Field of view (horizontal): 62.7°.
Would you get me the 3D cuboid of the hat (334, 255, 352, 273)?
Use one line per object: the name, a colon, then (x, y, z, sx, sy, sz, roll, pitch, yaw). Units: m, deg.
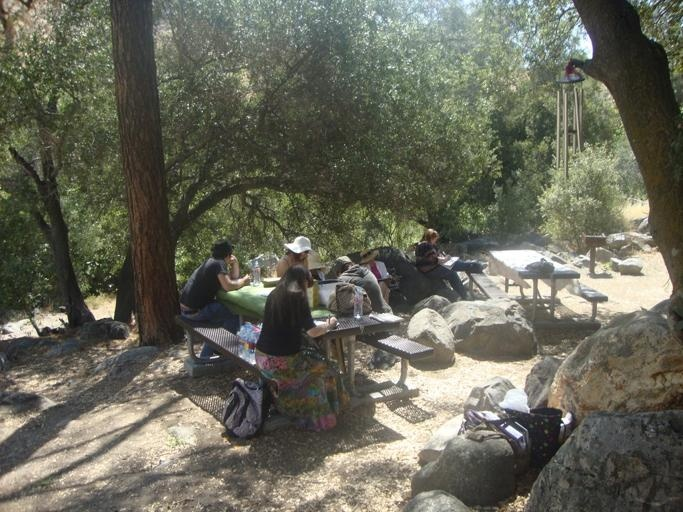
hat: (0.007, 0.114, 8.551, 0.261, 0.253, 0.203, -40, 9, -15)

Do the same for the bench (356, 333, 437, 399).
bench: (0.641, 1.340, 6.913, 0.265, 0.394, 0.973, 15, 1, -16)

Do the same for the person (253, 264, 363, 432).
person: (-0.388, 1.118, 6.421, 1.252, 2.275, 0.857, -18, 26, -38)

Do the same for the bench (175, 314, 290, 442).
bench: (-1.916, 1.455, 7.820, 0.632, 0.941, 3.723, -19, 9, -19)

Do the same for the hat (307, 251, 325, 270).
hat: (-0.409, 0.085, 8.790, 0.219, 0.439, 0.287, -5, 5, -12)

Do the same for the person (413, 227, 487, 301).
person: (2.508, -0.100, 12.682, 1.435, 1.275, 3.552, 1, 10, 24)

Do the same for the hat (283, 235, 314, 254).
hat: (-0.587, -0.157, 7.731, 0.308, 0.226, 0.411, -3, 9, 0)

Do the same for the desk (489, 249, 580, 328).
desk: (3.798, 0.502, 11.187, 1.059, 1.193, 2.984, -2, 9, 6)

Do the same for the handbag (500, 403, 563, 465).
handbag: (1.785, 1.658, 5.275, 0.526, 0.643, 0.321, -1, 4, -1)

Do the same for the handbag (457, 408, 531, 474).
handbag: (1.446, 1.731, 5.305, 0.396, 0.617, 0.571, -25, 8, -39)

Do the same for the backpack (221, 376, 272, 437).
backpack: (-1.041, 1.702, 6.236, 0.434, 0.661, 0.339, 3, -28, 0)
